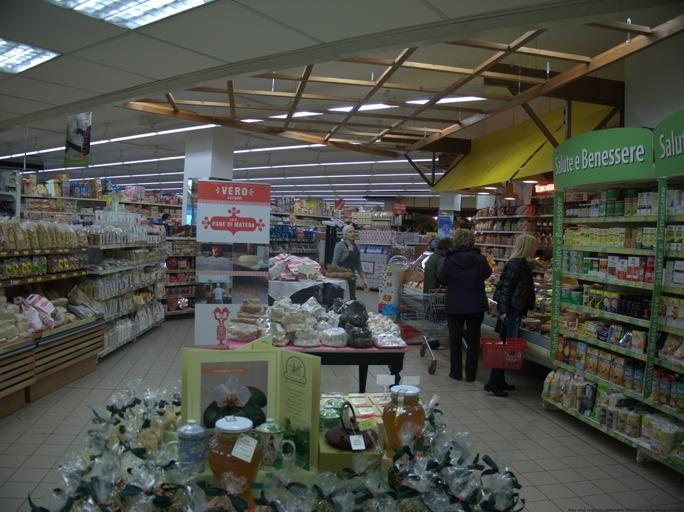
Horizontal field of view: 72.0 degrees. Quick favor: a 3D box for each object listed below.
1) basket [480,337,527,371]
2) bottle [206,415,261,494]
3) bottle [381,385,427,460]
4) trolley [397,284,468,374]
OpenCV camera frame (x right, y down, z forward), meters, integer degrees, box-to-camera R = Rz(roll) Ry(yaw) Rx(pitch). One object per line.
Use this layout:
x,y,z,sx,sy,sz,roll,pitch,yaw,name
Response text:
1.932,1.173,5.680,0.495,0.241,0.377,2,2,7,basket
-0.561,1.049,2.501,0.247,0.344,0.265,2,6,0,bottle
0.368,0.975,2.763,0.256,0.377,0.376,3,6,3,bottle
1.223,0.972,7.159,0.866,1.191,1.424,2,12,-5,trolley
